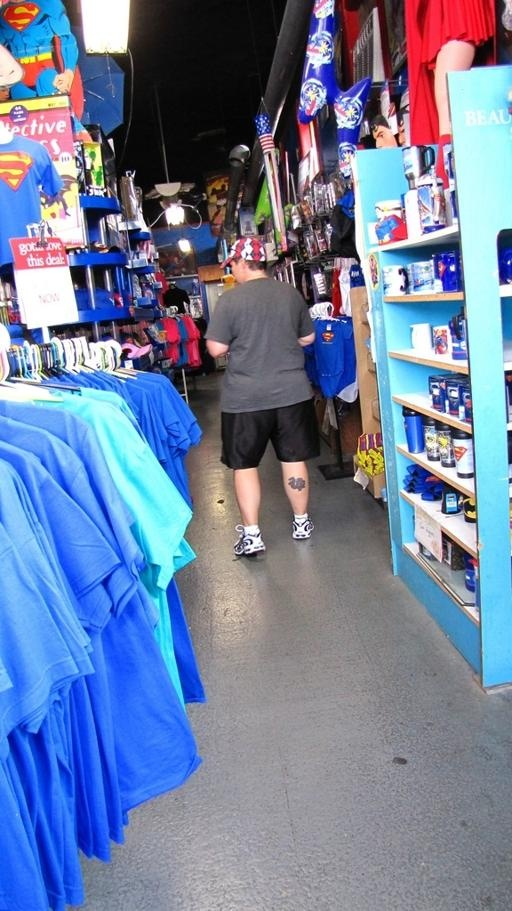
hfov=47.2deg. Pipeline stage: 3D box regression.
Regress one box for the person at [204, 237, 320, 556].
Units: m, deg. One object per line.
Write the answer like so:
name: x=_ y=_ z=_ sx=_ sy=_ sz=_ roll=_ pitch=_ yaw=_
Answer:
person: x=0.053 y=-0.317 z=3.206 sx=0.590 sy=1.738 sz=0.362 roll=-6 pitch=7 yaw=-5

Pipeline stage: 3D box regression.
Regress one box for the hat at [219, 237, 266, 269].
hat: x=-0.072 y=-1.084 z=3.188 sx=0.211 sy=0.142 sz=0.166 roll=9 pitch=26 yaw=34

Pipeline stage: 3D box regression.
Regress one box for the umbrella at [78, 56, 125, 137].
umbrella: x=-1.369 y=-3.222 z=5.223 sx=0.376 sy=0.746 sz=0.475 roll=-7 pitch=8 yaw=-12

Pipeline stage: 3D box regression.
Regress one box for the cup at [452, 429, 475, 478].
cup: x=0.637 y=0.004 z=1.797 sx=0.031 sy=0.148 sz=0.073 roll=-9 pitch=9 yaw=-33

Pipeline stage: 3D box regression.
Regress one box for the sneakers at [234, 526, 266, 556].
sneakers: x=-0.040 y=0.485 z=3.327 sx=0.086 sy=0.137 sz=0.265 roll=-2 pitch=4 yaw=-8
